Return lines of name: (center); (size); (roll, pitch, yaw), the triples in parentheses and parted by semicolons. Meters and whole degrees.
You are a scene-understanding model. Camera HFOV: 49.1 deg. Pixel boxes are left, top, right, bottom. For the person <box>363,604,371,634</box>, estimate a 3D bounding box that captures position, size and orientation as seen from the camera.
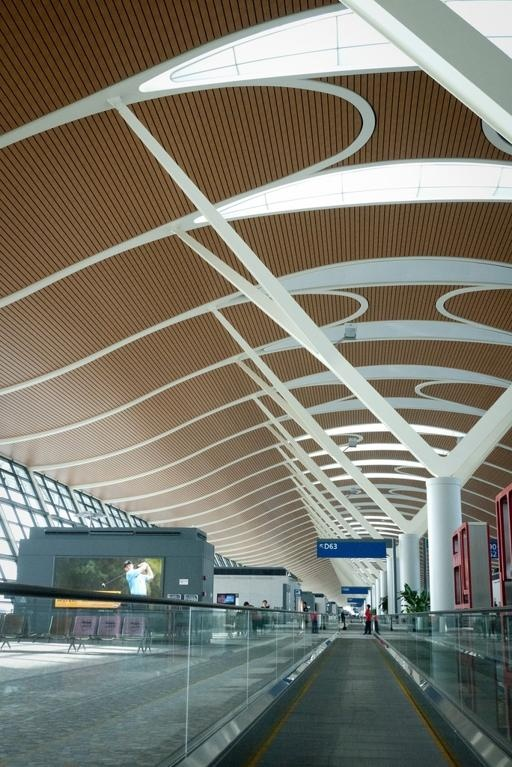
person: (7.350, 15.740, 36.917); (0.355, 1.597, 1.927); (-5, -20, 15)
